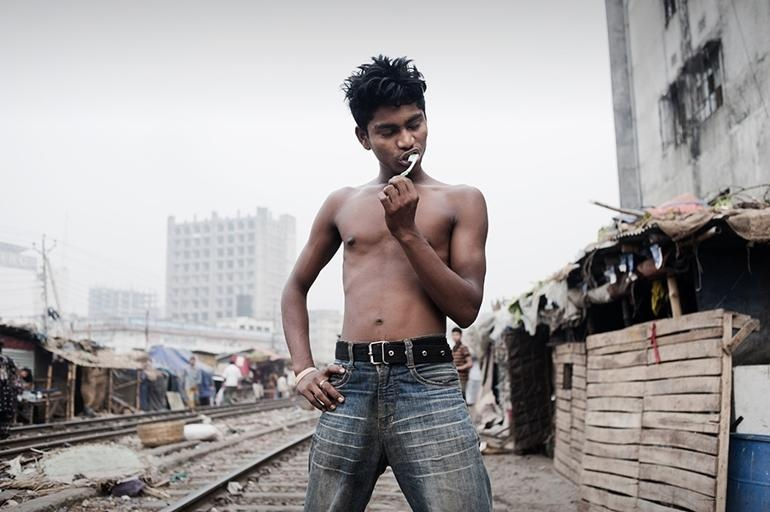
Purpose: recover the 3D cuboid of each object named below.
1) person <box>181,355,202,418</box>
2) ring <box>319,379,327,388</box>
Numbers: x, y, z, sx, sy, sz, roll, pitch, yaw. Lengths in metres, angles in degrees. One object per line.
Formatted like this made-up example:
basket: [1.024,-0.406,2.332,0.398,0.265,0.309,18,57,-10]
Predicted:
person: [-5.157,3.310,22.171,0.358,1.335,1.606,-3,-6,-9]
ring: [-0.663,1.325,8.745,0.075,0.065,0.024,-9,-19,33]
